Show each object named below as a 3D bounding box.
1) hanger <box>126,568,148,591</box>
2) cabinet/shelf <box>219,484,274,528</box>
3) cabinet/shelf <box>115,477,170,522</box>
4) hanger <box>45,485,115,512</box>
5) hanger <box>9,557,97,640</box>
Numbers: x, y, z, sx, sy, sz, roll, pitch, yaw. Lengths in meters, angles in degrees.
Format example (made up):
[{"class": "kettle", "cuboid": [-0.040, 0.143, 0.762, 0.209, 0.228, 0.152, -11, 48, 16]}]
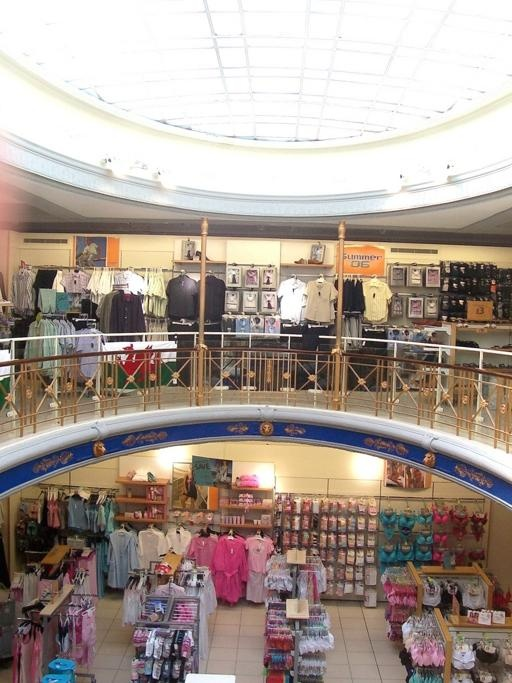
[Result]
[{"class": "hanger", "cuboid": [-1.705, 3.478, 7.077, 0.208, 0.299, 0.088, 2, -12, 9]}, {"class": "cabinet/shelf", "cuboid": [-0.107, 2.973, 8.771, 0.826, 0.581, 0.277, 0, 0, 0]}, {"class": "cabinet/shelf", "cuboid": [-2.022, 2.880, 8.900, 0.812, 0.702, 0.277, 1, 0, 5]}, {"class": "hanger", "cuboid": [-3.318, 2.752, 8.758, 1.544, 0.478, 0.591, 2, 1, -3]}, {"class": "hanger", "cuboid": [-2.732, 3.561, 6.650, 1.039, 0.515, 1.401, 1, 5, -7]}]
